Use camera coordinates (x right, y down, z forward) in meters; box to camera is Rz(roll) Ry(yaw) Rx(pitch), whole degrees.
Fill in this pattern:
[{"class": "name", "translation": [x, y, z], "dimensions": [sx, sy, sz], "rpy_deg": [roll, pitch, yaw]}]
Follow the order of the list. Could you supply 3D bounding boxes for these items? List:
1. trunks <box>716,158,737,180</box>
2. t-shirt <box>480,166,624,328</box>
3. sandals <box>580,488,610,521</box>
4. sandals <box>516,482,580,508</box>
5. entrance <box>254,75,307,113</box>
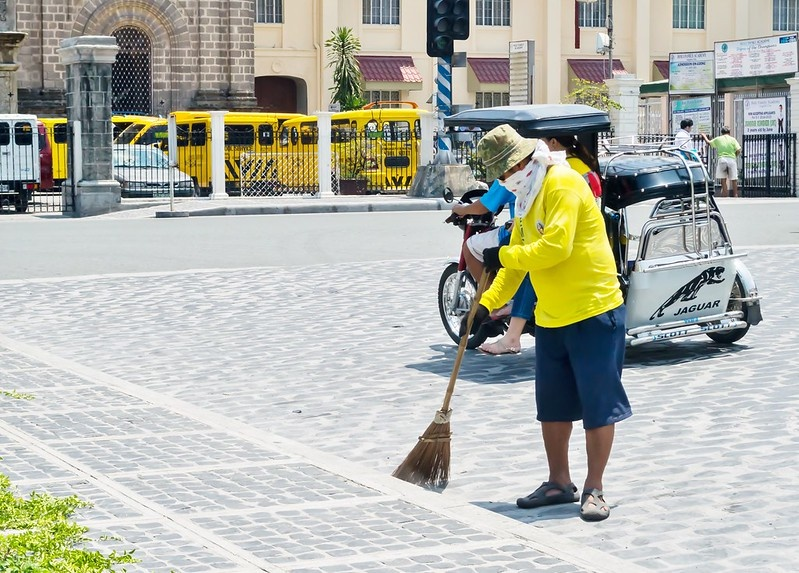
[{"class": "trunks", "translation": [6.763, -2.418, 34.287], "dimensions": [0.550, 0.441, 0.318], "rpy_deg": [2, 4, 40]}, {"class": "t-shirt", "translation": [1.199, -0.255, 12.081], "dimensions": [1.384, 1.197, 1.053], "rpy_deg": [-2, -7, -10]}, {"class": "sandals", "translation": [1.424, 1.568, 12.052], "dimensions": [0.210, 0.207, 0.145], "rpy_deg": [2, 14, 5]}, {"class": "sandals", "translation": [1.106, 1.527, 12.319], "dimensions": [0.533, 0.163, 0.160], "rpy_deg": [-1, 0, -13]}, {"class": "entrance", "translation": [-4.359, -6.359, 54.597], "dimensions": [1.682, 1.184, 0.805], "rpy_deg": [-3, 2, -29]}]
